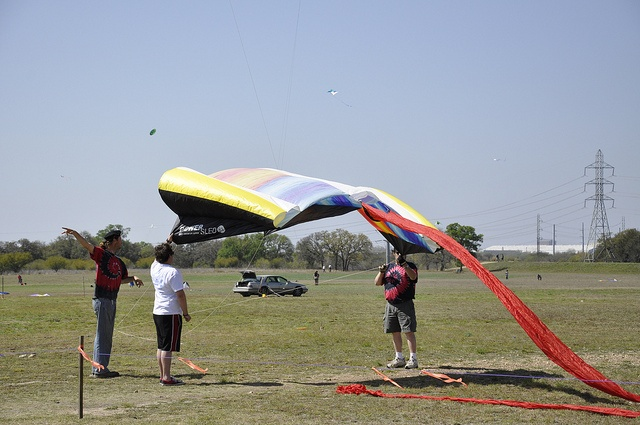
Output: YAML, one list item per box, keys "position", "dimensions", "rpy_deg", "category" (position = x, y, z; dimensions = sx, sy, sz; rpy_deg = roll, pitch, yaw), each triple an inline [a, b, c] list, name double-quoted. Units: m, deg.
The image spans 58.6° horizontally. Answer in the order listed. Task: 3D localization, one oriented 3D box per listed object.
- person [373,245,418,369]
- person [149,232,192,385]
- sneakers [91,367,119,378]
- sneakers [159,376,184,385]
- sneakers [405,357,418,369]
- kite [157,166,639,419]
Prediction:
- position: [1.830, 2.272, 13.424]
  dimensions: [0.931, 2.732, 0.971]
  rpy_deg: [-2, -5, 1]
  category: "person"
- position: [-3.123, 2.108, 11.871]
  dimensions: [0.851, 3.004, 0.521]
  rpy_deg: [-5, -5, 27]
  category: "person"
- position: [-4.718, 3.553, 12.610]
  dimensions: [0.637, 0.259, 0.212]
  rpy_deg: [0, 2, -17]
  category: "sneakers"
- position: [-3.146, 3.532, 12.048]
  dimensions: [0.448, 0.183, 0.188]
  rpy_deg: [0, -2, -7]
  category: "sneakers"
- position: [2.099, 3.472, 13.059]
  dimensions: [0.154, 0.174, 0.384]
  rpy_deg: [-3, -11, 12]
  category: "sneakers"
- position: [0.504, 0.532, 12.868]
  dimensions: [7.681, 2.938, 5.678]
  rpy_deg: [6, 0, 35]
  category: "kite"
